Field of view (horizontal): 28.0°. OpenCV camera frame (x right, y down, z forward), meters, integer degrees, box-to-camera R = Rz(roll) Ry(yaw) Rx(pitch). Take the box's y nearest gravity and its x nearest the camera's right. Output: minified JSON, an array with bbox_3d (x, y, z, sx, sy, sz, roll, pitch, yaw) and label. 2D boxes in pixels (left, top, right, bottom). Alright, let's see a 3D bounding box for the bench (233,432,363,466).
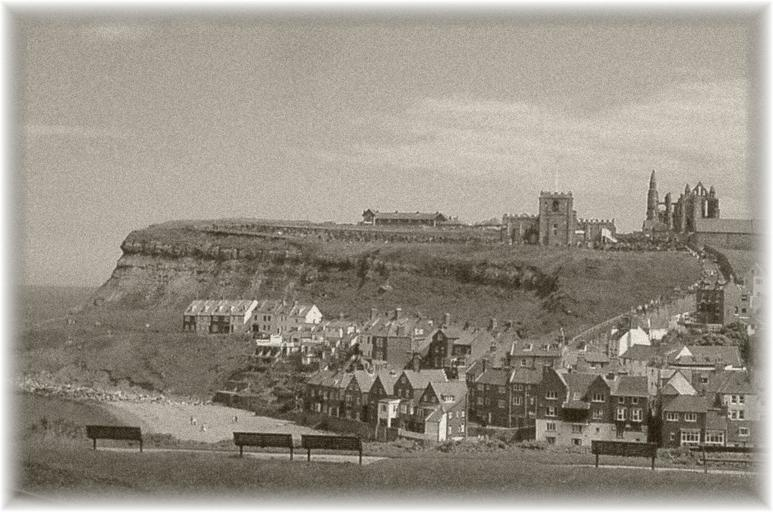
[{"bbox_3d":[-2.627,5.612,46.279,3.847,0.850,1.682,4,-8,0],"label":"bench"}]
